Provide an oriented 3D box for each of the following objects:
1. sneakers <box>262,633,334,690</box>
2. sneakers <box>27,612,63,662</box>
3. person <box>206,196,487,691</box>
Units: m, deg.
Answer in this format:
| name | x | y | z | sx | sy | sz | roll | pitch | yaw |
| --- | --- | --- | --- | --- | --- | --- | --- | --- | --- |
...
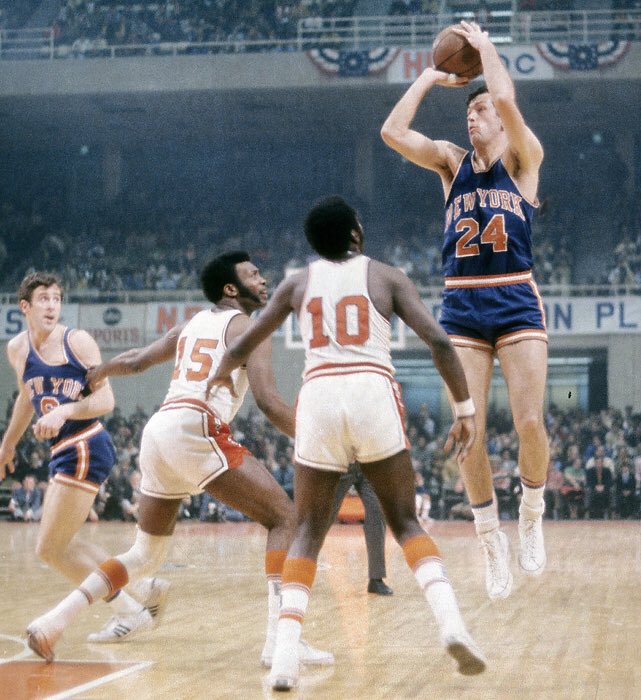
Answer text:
| name | x | y | z | sx | sy | sz | roll | pitch | yaw |
| --- | --- | --- | --- | --- | --- | --- | --- | --- | --- |
| sneakers | -0.110 | 1.582 | 6.311 | 0.151 | 0.228 | 0.480 | -2 | 2 | 30 |
| sneakers | -1.485 | 1.519 | 6.561 | 0.114 | 0.364 | 0.137 | -12 | -3 | -32 |
| person | 0.172 | 0.435 | 6.265 | 1.216 | 2.265 | 0.617 | -2 | 1 | 7 |
